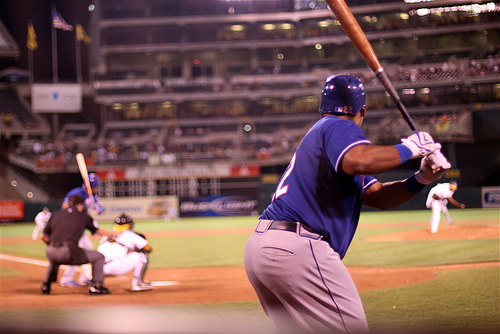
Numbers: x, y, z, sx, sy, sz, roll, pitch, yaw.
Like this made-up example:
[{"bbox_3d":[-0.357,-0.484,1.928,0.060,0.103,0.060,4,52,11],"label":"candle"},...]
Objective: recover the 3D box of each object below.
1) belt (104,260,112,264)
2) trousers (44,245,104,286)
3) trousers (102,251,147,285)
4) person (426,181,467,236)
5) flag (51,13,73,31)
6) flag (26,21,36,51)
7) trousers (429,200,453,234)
[{"bbox_3d":[-4.269,2.859,19.462,0.221,0.101,0.026,-2,2,1],"label":"belt"},{"bbox_3d":[-5.310,2.953,19.400,1.840,1.287,0.382,-2,2,4],"label":"trousers"},{"bbox_3d":[-3.759,3.034,19.588,1.024,0.582,0.858,2,-1,-26],"label":"trousers"},{"bbox_3d":[7.353,1.350,24.073,1.429,1.973,0.884,3,22,4],"label":"person"},{"bbox_3d":[-6.564,-5.126,22.604,0.684,0.634,0.503,-2,1,-13],"label":"flag"},{"bbox_3d":[-7.649,-4.630,22.544,0.308,0.943,1.069,-2,1,-18],"label":"flag"},{"bbox_3d":[7.002,1.866,24.106,0.327,1.145,1.199,0,-31,21],"label":"trousers"}]
